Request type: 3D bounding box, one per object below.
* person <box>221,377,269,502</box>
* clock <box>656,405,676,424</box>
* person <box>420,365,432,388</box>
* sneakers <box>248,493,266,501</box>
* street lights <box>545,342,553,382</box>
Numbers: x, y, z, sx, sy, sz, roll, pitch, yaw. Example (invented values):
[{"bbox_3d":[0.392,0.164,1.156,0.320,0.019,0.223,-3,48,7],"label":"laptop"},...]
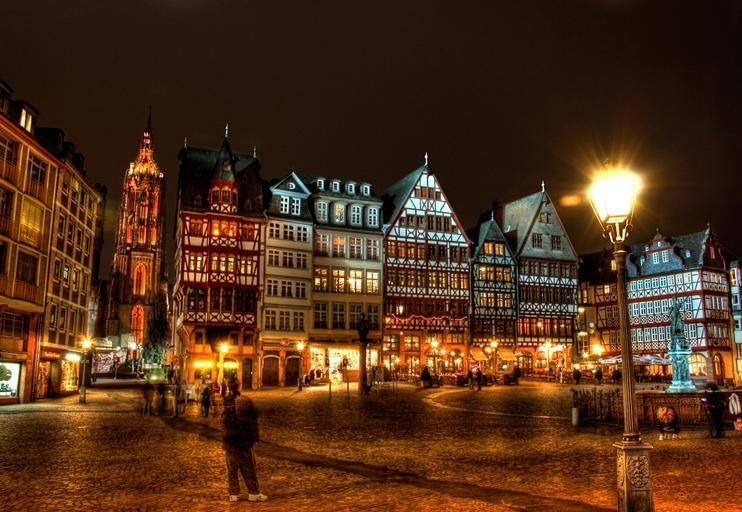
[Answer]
[{"bbox_3d":[-3.215,4.519,17.551,1.026,2.975,1.456,3,-14,-9],"label":"person"},{"bbox_3d":[10.523,5.643,25.077,0.564,0.569,0.438,-11,-18,36],"label":"clock"},{"bbox_3d":[4.018,8.841,51.181,0.726,1.376,1.191,-1,-15,7],"label":"person"},{"bbox_3d":[-2.749,5.791,16.904,0.404,0.204,0.168,1,-2,-10],"label":"sneakers"},{"bbox_3d":[17.399,9.539,69.027,0.621,2.482,0.761,-8,-16,30],"label":"street lights"}]
